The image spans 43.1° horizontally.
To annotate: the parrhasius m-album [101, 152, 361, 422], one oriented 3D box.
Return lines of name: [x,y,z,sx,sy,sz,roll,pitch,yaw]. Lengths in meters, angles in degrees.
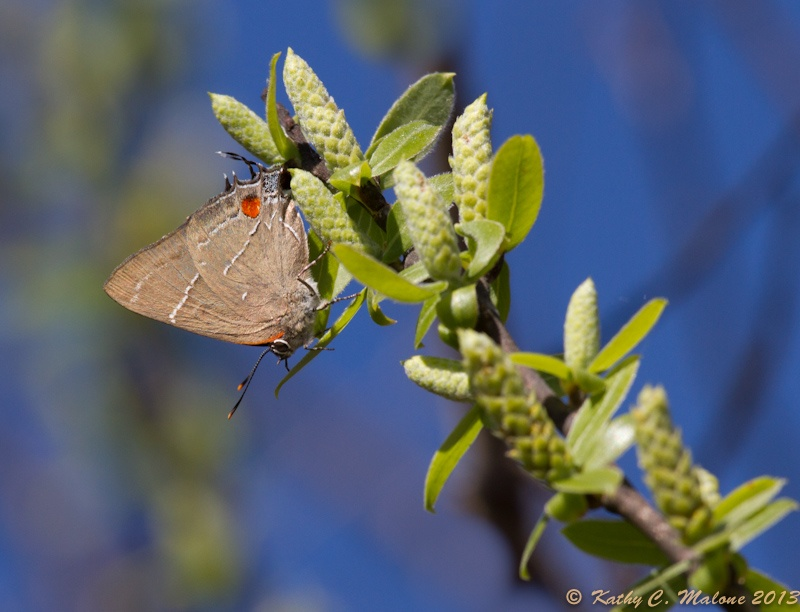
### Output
parrhasius m-album: [-0.699,-0.198,4.037,0.887,0.635,0.384,19,8,24]
